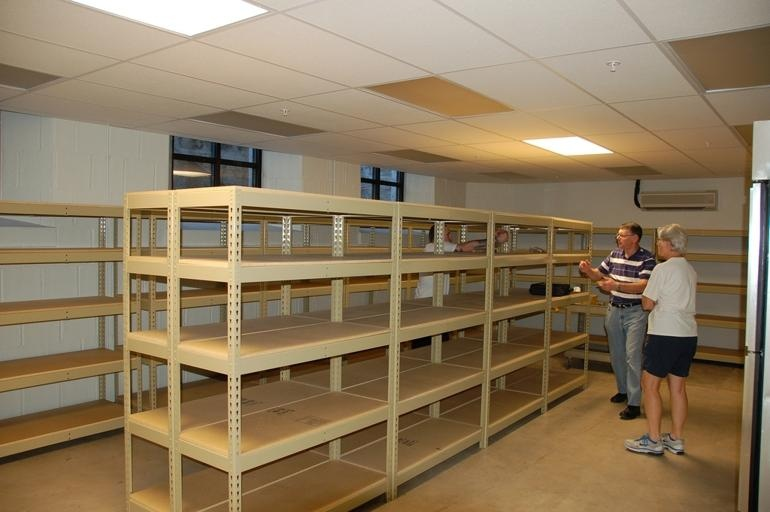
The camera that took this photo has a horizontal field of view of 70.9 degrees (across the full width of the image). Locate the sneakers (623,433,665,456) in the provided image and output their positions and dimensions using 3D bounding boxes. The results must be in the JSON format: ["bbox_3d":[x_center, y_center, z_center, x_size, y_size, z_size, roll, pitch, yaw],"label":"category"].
[{"bbox_3d":[2.597,1.893,5.477,0.392,0.159,0.169,3,-2,28],"label":"sneakers"}]

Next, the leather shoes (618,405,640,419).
[{"bbox_3d":[2.808,1.809,6.258,0.323,0.184,0.114,9,-12,-36],"label":"leather shoes"}]

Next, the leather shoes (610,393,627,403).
[{"bbox_3d":[2.937,1.778,6.782,0.263,0.089,0.092,6,-6,-36],"label":"leather shoes"}]

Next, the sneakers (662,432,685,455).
[{"bbox_3d":[2.910,1.901,5.505,0.147,0.112,0.294,0,1,0],"label":"sneakers"}]
